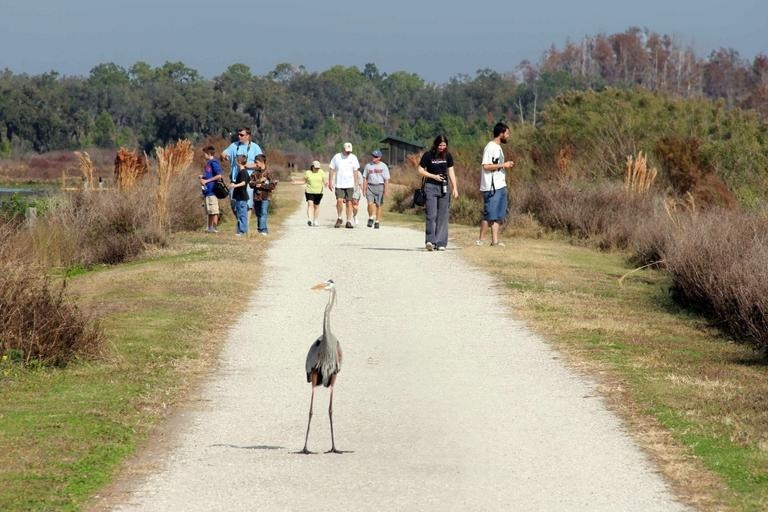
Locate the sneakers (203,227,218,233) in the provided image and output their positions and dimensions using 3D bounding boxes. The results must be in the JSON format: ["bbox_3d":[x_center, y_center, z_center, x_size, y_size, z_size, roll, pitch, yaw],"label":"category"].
[{"bbox_3d":[-4.593,-0.678,26.515,0.180,0.227,0.474,-3,-2,-42],"label":"sneakers"}]

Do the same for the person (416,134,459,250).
[{"bbox_3d":[1.297,-1.391,23.081,0.805,2.818,1.100,0,14,4],"label":"person"}]

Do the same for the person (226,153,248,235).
[{"bbox_3d":[-3.611,-1.513,25.377,0.481,2.120,0.824,-3,14,-8],"label":"person"}]

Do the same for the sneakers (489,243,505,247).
[{"bbox_3d":[2.812,-0.253,24.095,0.311,0.132,0.120,0,-1,9],"label":"sneakers"}]

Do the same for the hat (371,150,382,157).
[{"bbox_3d":[-0.157,-2.816,27.482,0.242,0.136,0.173,13,1,-42],"label":"hat"}]

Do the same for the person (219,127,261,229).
[{"bbox_3d":[-3.676,-2.059,25.421,0.972,2.441,1.046,16,11,42],"label":"person"}]

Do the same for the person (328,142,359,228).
[{"bbox_3d":[-1.110,-2.006,28.914,0.862,2.525,1.239,-1,14,-2],"label":"person"}]

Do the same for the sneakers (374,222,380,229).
[{"bbox_3d":[-0.143,-0.887,29.151,0.163,0.167,0.168,1,-1,-5],"label":"sneakers"}]

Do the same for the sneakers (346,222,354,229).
[{"bbox_3d":[-0.958,-0.872,28.927,0.167,0.190,0.463,-2,-3,-10],"label":"sneakers"}]
